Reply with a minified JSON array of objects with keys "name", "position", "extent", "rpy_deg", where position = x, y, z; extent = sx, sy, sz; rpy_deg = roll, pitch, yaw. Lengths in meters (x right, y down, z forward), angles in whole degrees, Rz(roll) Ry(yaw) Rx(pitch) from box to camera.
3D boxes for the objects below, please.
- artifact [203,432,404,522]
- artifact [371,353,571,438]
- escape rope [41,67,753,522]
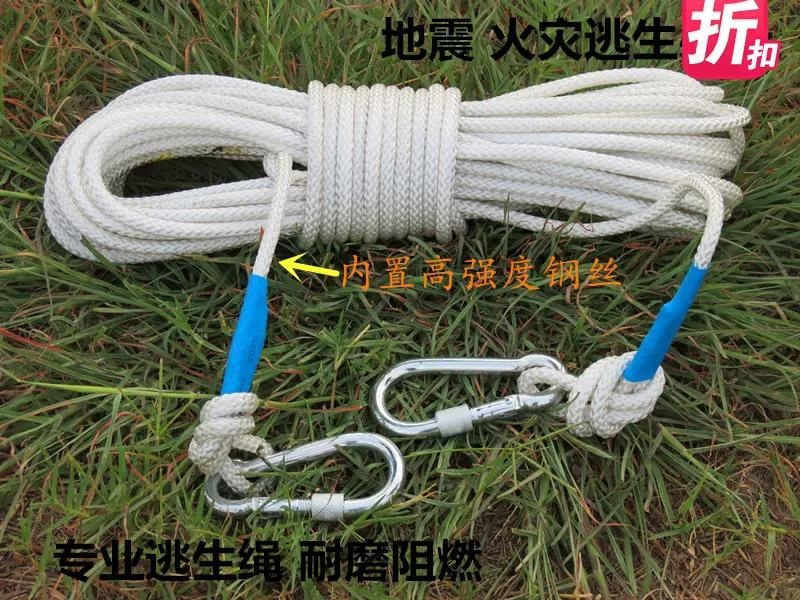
[{"name":"artifact","position":[-0.260,0.482,1.958],"extent":[0.685,0.083,0.220],"rpy_deg":[-11,62,27]},{"name":"artifact","position":[0.195,0.249,2.024],"extent":[0.718,0.094,0.206],"rpy_deg":[-4,75,-34]},{"name":"escape rope","position":[0.084,-0.175,2.027],"extent":[1.858,0.597,1.293],"rpy_deg":[-20,57,-11]}]
